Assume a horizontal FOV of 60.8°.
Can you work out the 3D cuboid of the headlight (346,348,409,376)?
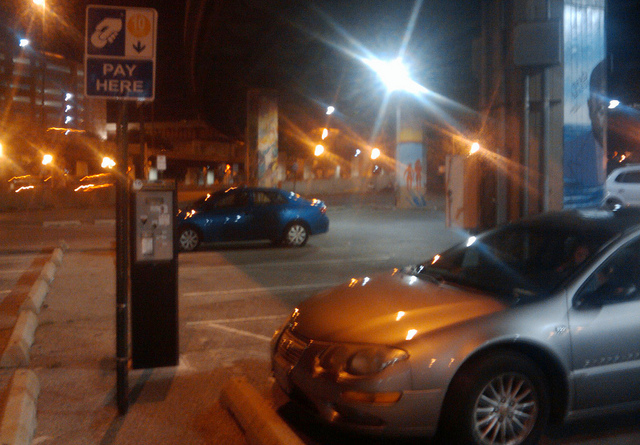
[{"bbox_3d":[0.488,1.234,4.927,0.407,0.193,0.269,-15,21,7],"label":"headlight"}]

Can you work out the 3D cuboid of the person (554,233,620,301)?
[{"bbox_3d":[2.690,0.446,5.588,0.729,0.276,0.558,-26,30,26],"label":"person"}]

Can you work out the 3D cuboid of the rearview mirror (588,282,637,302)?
[{"bbox_3d":[2.912,0.682,5.397,0.447,0.146,0.198,-2,4,-15],"label":"rearview mirror"}]

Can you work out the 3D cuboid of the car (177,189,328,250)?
[{"bbox_3d":[-1.942,-0.153,15.873,3.787,1.394,1.670,2,-1,-10],"label":"car"}]
